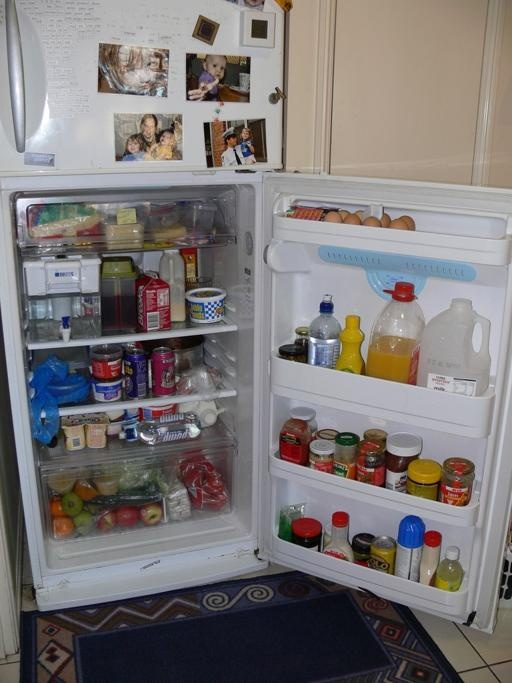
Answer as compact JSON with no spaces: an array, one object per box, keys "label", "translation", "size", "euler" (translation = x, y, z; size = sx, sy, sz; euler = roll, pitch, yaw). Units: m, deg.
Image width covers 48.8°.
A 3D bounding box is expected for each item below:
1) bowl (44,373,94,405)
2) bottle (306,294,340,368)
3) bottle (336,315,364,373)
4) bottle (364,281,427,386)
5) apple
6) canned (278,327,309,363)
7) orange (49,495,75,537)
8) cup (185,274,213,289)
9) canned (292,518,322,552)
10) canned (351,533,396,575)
[{"label":"bowl","translation":[-0.507,0.135,1.549],"size":[0.086,0.073,0.028],"euler":[-12,-6,-31]},{"label":"bottle","translation":[0.161,-0.019,1.349],"size":[0.077,0.151,0.140],"euler":[1,14,4]},{"label":"bottle","translation":[0.222,0.001,1.324],"size":[0.064,0.138,0.148],"euler":[3,14,10]},{"label":"bottle","translation":[0.305,-0.012,1.237],"size":[0.119,0.200,0.115],"euler":[0,14,0]},{"label":"apple","translation":[-0.432,0.501,1.682],"size":[0.251,0.144,0.076],"euler":[-4,14,-16]},{"label":"canned","translation":[0.099,0.007,1.440],"size":[0.102,0.095,0.057],"euler":[-14,23,-42]},{"label":"orange","translation":[-0.569,0.515,1.632],"size":[0.069,0.113,0.053],"euler":[-17,3,-34]},{"label":"cup","translation":[-0.185,-0.185,1.779],"size":[0.049,0.047,0.050],"euler":[1,11,0]},{"label":"canned","translation":[0.130,0.509,1.496],"size":[0.079,0.080,0.078],"euler":[1,13,3]},{"label":"canned","translation":[0.283,0.520,1.408],"size":[0.093,0.099,0.092],"euler":[0,14,-2]}]
